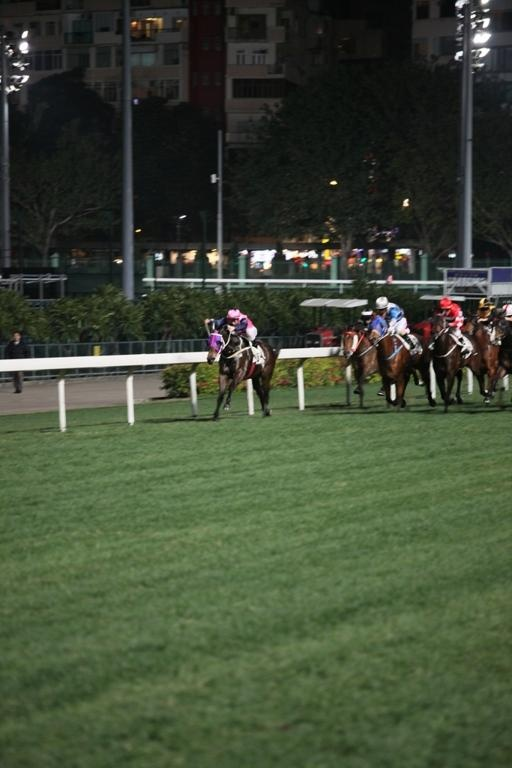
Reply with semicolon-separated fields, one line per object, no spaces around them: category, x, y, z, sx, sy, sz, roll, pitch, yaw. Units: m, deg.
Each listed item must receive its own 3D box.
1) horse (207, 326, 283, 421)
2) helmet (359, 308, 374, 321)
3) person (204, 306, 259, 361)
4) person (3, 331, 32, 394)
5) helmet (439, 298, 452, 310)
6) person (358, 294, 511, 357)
horse;-0.201;-0.147;12.141;0.510;1.305;1.367;1;7;20
helmet;1.698;-1.048;13.678;0.217;0.145;0.295;0;12;7
person;-0.426;-0.751;12.158;0.438;0.623;1.026;11;14;28
person;-5.875;-0.540;22.163;0.571;1.523;3.000;-3;7;-15
helmet;2.751;-1.169;12.967;0.144;0.188;0.146;6;-30;16
person;2.900;-1.059;13.540;3.269;0.524;1.471;-5;8;-34
